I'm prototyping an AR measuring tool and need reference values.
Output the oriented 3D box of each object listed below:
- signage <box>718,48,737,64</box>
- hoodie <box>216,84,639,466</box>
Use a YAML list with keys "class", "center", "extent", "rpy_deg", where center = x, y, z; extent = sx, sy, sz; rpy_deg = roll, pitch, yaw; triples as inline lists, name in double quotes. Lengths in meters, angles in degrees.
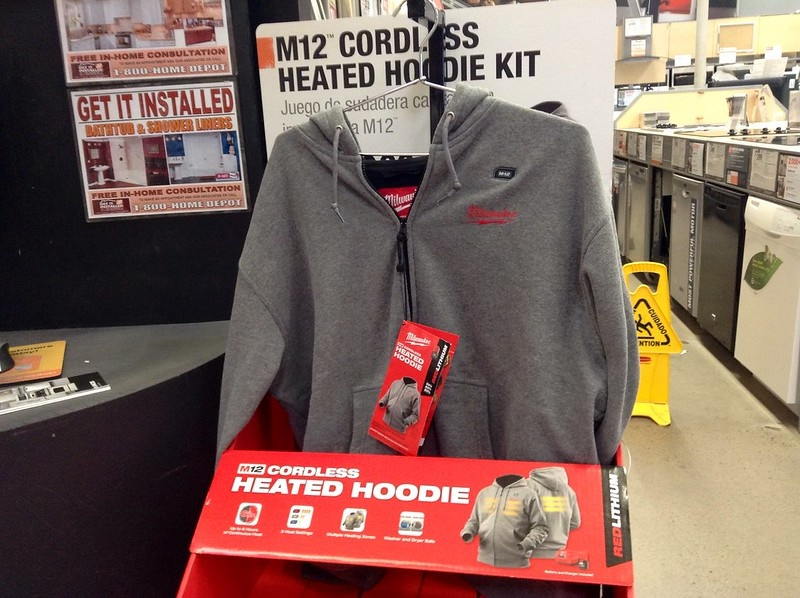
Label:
- class: "signage"
  center: [3.813, -2.813, 6.658]
  extent: [0.180, 0.179, 0.305]
  rpy_deg: [9, 24, 27]
- class: "hoodie"
  center: [0.069, -0.045, 1.420]
  extent: [1.024, 0.973, 0.283]
  rpy_deg: [3, 15, 10]
